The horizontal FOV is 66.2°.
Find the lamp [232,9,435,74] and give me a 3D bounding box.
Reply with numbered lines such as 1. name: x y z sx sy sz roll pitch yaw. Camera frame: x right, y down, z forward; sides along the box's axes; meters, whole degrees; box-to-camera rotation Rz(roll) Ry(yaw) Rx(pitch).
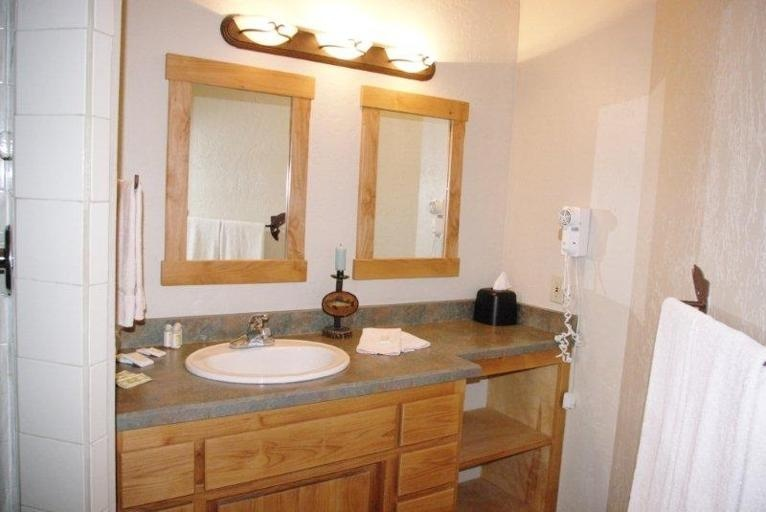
1. lamp: -0.204 -0.977 2.759 1.063 0.163 0.169 0 5 -27

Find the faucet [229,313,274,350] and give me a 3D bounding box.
1. faucet: -0.589 0.325 2.601 0.207 0.134 0.108 2 0 -40

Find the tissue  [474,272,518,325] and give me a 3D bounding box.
1. tissue : 0.623 0.225 3.195 0.235 0.275 0.153 2 5 -7

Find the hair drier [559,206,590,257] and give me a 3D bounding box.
1. hair drier: 0.933 -0.118 2.872 0.123 0.247 0.109 -2 7 -44

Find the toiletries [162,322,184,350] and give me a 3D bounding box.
1. toiletries: -0.915 0.338 2.558 0.081 0.108 0.065 1 5 -20

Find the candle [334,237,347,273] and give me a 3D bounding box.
1. candle: -0.208 0.005 2.859 0.060 0.146 0.170 2 4 -4
